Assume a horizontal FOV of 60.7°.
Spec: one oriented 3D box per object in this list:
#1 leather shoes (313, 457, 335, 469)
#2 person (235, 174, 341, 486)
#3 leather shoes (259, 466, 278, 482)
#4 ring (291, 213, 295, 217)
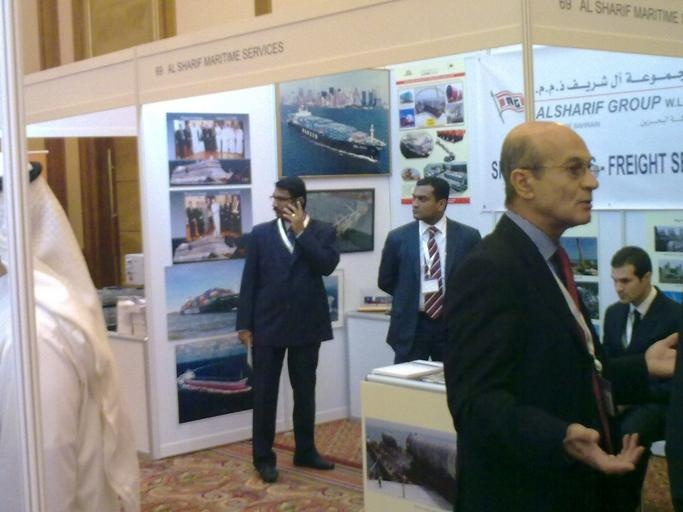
[{"bbox_3d":[-0.123,1.539,4.330,0.134,0.063,0.076,-5,-1,32],"label":"leather shoes"},{"bbox_3d":[-0.382,0.515,4.202,0.749,2.153,0.381,-3,6,-7],"label":"person"},{"bbox_3d":[-0.522,1.546,4.154,0.140,0.103,0.123,-3,6,-8],"label":"leather shoes"},{"bbox_3d":[-0.338,-0.288,4.093,0.023,0.024,0.006,-5,-12,6],"label":"ring"}]
